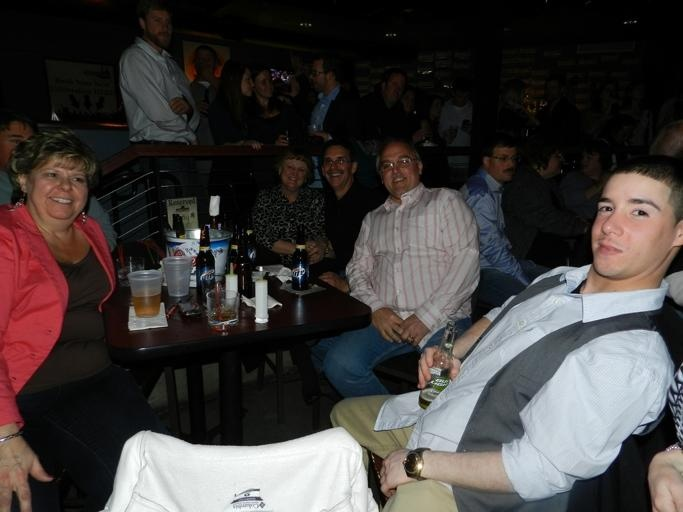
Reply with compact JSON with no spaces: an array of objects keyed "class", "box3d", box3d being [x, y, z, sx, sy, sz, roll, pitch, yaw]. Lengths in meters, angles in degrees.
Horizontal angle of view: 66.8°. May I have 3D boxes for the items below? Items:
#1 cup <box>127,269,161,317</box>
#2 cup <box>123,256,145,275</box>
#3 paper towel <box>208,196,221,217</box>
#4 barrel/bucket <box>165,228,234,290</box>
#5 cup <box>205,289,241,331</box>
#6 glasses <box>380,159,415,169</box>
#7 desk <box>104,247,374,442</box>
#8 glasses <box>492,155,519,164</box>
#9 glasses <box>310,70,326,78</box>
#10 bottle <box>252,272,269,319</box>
[{"class":"cup","box3d":[-0.859,0.159,2.297,0.149,0.185,0.131,-14,26,-34]},{"class":"cup","box3d":[-1.072,0.040,2.675,0.116,0.115,0.113,3,10,-1]},{"class":"paper towel","box3d":[-0.643,-0.248,2.613,0.039,0.130,0.146,-3,20,-10]},{"class":"barrel/bucket","box3d":[-0.692,0.003,2.577,0.292,0.219,0.325,2,1,37]},{"class":"cup","box3d":[-0.516,0.220,2.245,0.143,0.157,0.159,-6,21,-17]},{"class":"glasses","box3d":[0.339,-0.568,3.195,0.193,0.075,0.042,3,21,6]},{"class":"desk","box3d":[-0.584,0.617,2.862,1.167,1.033,1.140,-7,21,-20]},{"class":"glasses","box3d":[1.294,-0.762,4.079,0.187,0.055,0.052,-3,21,-11]},{"class":"glasses","box3d":[-0.212,-1.688,4.800,0.115,0.031,0.106,-2,12,-25]},{"class":"bottle","box3d":[-0.363,0.171,2.309,0.067,0.204,0.190,-3,21,-10]}]
